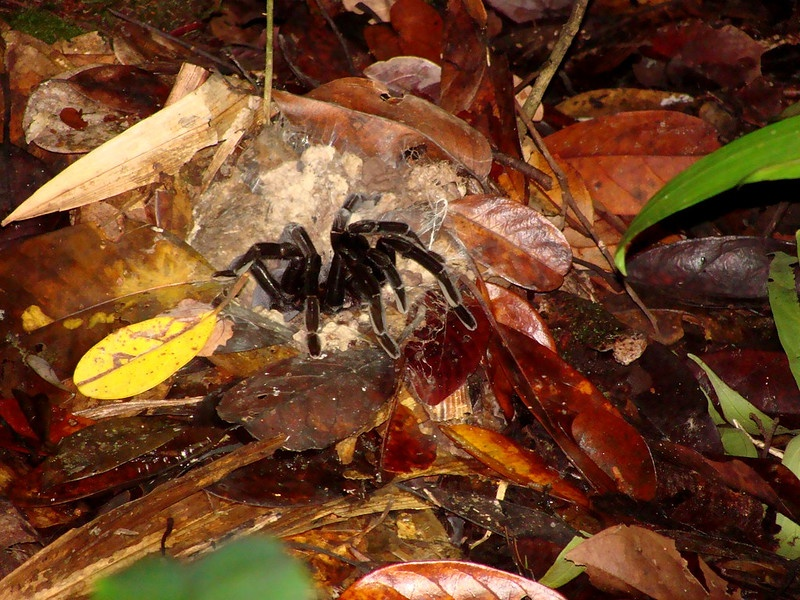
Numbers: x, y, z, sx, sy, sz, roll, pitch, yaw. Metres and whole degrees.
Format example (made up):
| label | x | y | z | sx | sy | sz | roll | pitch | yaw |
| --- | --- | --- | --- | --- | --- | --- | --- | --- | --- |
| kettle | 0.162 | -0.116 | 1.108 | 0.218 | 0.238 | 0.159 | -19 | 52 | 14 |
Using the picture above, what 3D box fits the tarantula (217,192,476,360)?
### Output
| label | x | y | z | sx | sy | sz | roll | pitch | yaw |
| --- | --- | --- | --- | --- | --- | --- | --- | --- | --- |
| tarantula | -0.122 | -0.068 | 1.871 | 0.349 | 0.151 | 0.493 | -18 | 32 | -36 |
